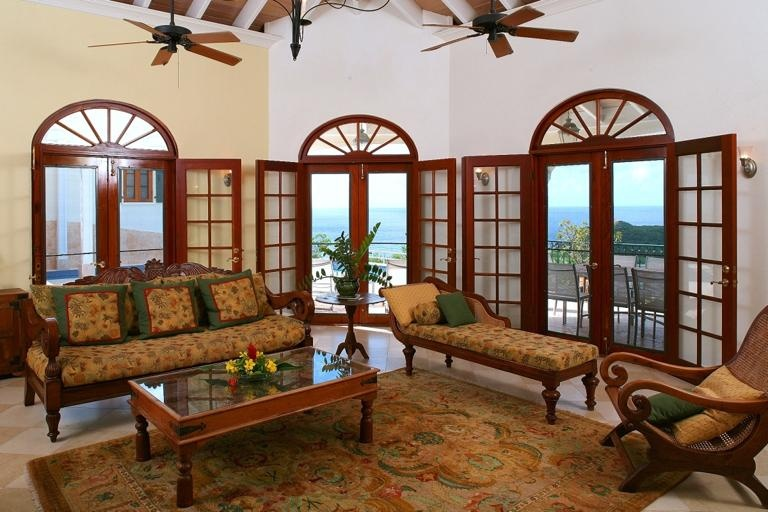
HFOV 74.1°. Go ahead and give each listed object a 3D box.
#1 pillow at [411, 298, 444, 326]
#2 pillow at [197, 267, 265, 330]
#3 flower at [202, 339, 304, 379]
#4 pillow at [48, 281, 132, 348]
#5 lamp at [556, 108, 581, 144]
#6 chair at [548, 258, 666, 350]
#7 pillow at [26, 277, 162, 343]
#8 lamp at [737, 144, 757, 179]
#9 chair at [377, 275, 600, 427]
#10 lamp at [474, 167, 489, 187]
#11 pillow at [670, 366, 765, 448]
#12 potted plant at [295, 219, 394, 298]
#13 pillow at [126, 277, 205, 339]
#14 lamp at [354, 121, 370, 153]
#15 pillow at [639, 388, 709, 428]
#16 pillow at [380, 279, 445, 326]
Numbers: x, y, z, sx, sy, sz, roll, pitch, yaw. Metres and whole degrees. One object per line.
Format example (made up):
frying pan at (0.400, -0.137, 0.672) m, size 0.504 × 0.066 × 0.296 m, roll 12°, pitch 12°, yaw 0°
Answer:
pillow at (0.549, 0.688, 6.057) m, size 0.352 × 0.245 × 0.275 m, roll -7°, pitch 30°, yaw -30°
pillow at (-1.834, 0.530, 6.047) m, size 0.320 × 0.585 × 0.834 m, roll 6°, pitch 8°, yaw 33°
flower at (-1.186, 0.950, 4.573) m, size 0.486 × 0.240 × 0.631 m, roll 9°, pitch 6°, yaw 26°
pillow at (-3.013, 0.619, 5.167) m, size 0.670 × 0.575 × 0.223 m, roll -3°, pitch -23°, yaw -26°
lamp at (2.458, -1.712, 6.757) m, size 0.110 × 0.403 × 0.305 m, roll -7°, pitch 14°, yaw -30°
chair at (2.933, 0.619, 6.524) m, size 1.297 × 0.774 × 0.455 m, roll 3°, pitch 6°, yaw 40°
pillow at (-3.377, 0.496, 5.913) m, size 1.303 × 0.513 × 1.930 m, roll 5°, pitch 8°, yaw -23°
lamp at (3.911, -0.997, 5.453) m, size 0.202 × 0.334 × 0.062 m, roll 8°, pitch 14°, yaw 33°
chair at (1.072, 0.953, 5.942) m, size 0.899 × 1.067 × 2.577 m, roll -4°, pitch 7°, yaw -38°
lamp at (1.373, -1.106, 7.157) m, size 0.199 × 0.252 × 0.097 m, roll 3°, pitch 17°, yaw 22°
pillow at (2.600, 1.201, 4.097) m, size 0.633 × 0.452 × 0.571 m, roll 2°, pitch 12°, yaw 7°
potted plant at (-0.388, 0.056, 6.986) m, size 1.248 × 0.781 × 1.251 m, roll 3°, pitch 6°, yaw 42°
pillow at (-2.432, 0.576, 5.644) m, size 0.381 × 0.607 × 0.777 m, roll 9°, pitch 5°, yaw 40°
lamp at (-0.332, -1.863, 7.942) m, size 0.236 × 0.414 × 0.082 m, roll -1°, pitch 12°, yaw -4°
pillow at (2.308, 1.244, 4.079) m, size 0.381 × 0.100 × 0.347 m, roll -13°, pitch 17°, yaw -39°
pillow at (0.301, 0.579, 6.181) m, size 0.706 × 0.491 × 0.136 m, roll -5°, pitch -22°, yaw -28°
